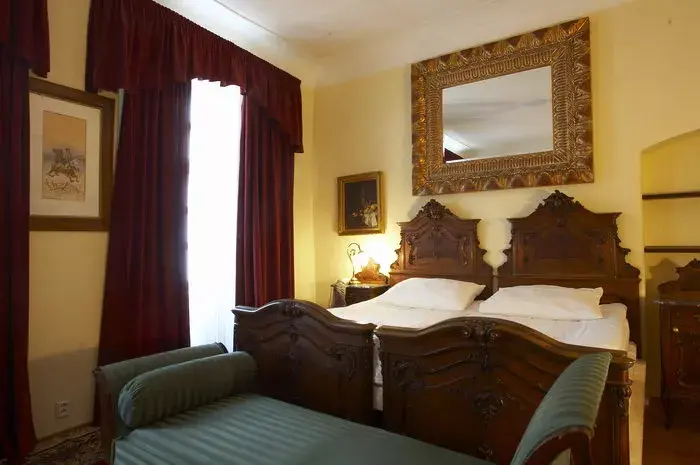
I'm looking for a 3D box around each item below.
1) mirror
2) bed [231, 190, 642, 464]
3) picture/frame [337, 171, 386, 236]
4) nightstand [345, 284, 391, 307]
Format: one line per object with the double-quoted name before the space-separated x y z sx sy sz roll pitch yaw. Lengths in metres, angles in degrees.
"mirror" 1.983 -1.583 6.598 2.246 1.880 0.108 -2 -5 29
"bed" 1.136 0.420 5.705 3.038 2.028 3.035 -3 -6 36
"picture/frame" 0.176 -0.395 7.533 0.907 1.023 0.079 -2 -3 35
"nightstand" 0.178 0.768 7.138 0.408 0.381 0.299 0 1 35
